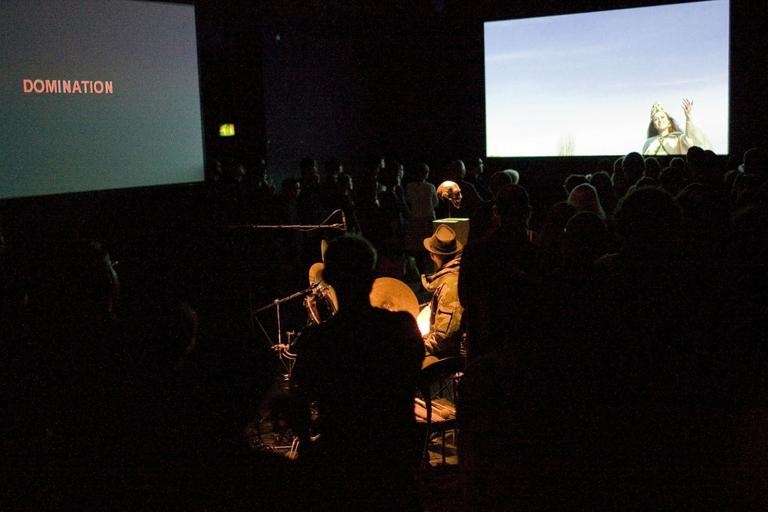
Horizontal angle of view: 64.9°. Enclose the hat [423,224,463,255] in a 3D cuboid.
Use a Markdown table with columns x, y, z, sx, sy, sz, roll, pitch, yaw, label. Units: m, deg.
| x | y | z | sx | sy | sz | roll | pitch | yaw | label |
| --- | --- | --- | --- | --- | --- | --- | --- | --- | --- |
| 0.444 | -0.129 | 4.914 | 0.226 | 0.113 | 0.287 | -4 | 21 | -15 | hat |
